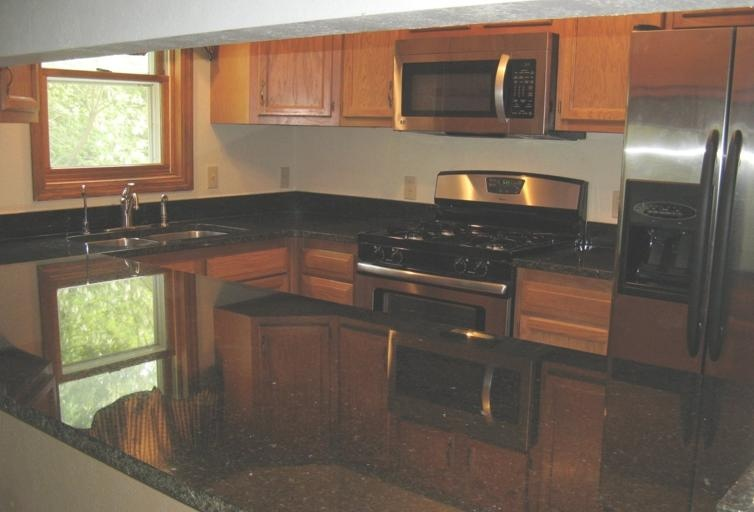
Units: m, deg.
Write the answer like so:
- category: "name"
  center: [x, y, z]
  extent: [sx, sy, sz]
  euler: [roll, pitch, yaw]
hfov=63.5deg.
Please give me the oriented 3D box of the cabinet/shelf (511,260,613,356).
- category: "cabinet/shelf"
  center: [0.866, 0.229, 2.773]
  extent: [0.419, 0.349, 0.220]
  euler: [7, 11, 26]

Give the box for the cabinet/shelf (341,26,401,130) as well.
- category: "cabinet/shelf"
  center: [0.007, -1.079, 3.752]
  extent: [0.396, 0.488, 0.345]
  euler: [6, 17, 19]

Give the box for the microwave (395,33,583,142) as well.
- category: "microwave"
  center: [0.546, -0.893, 3.218]
  extent: [1.005, 0.476, 0.647]
  euler: [7, 9, 40]

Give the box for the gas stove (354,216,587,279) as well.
- category: "gas stove"
  center: [0.300, -0.007, 3.308]
  extent: [0.766, 0.135, 0.509]
  euler: [9, 14, -2]

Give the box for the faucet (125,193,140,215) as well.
- category: "faucet"
  center: [-1.392, -0.290, 3.456]
  extent: [0.080, 0.141, 0.094]
  euler: [0, 12, -3]

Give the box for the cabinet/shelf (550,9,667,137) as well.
- category: "cabinet/shelf"
  center: [1.258, -0.930, 3.094]
  extent: [0.492, 0.557, 0.426]
  euler: [-8, 18, -22]
